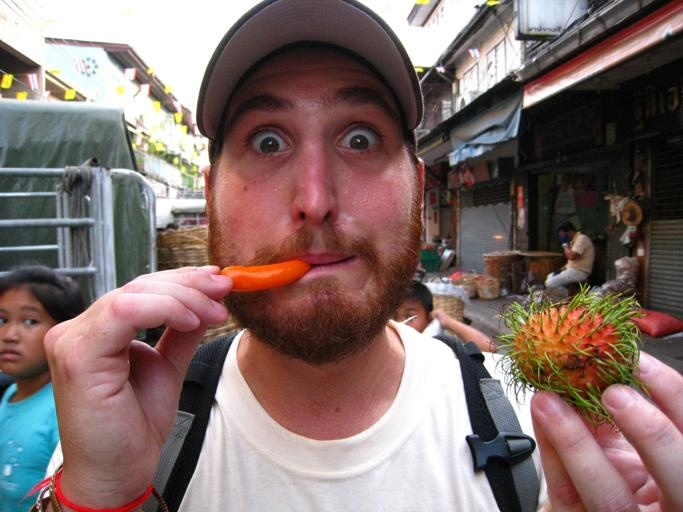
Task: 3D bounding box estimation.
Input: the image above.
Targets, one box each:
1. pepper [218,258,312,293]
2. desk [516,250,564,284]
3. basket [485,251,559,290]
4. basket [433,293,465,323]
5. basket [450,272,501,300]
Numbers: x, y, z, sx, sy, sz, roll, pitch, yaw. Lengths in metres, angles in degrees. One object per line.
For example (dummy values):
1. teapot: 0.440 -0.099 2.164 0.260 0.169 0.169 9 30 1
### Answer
1. pepper: -0.450 0.132 2.915 0.520 0.193 0.196 -9 11 -11
2. desk: 4.253 0.201 10.928 0.679 0.862 0.677 1 0 12
3. basket: 3.863 0.380 11.167 1.568 0.828 1.290 -3 11 16
4. basket: 1.687 0.814 8.103 0.479 0.428 0.472 -2 -10 9
5. basket: 2.908 0.648 10.990 0.616 0.398 0.881 0 1 4
